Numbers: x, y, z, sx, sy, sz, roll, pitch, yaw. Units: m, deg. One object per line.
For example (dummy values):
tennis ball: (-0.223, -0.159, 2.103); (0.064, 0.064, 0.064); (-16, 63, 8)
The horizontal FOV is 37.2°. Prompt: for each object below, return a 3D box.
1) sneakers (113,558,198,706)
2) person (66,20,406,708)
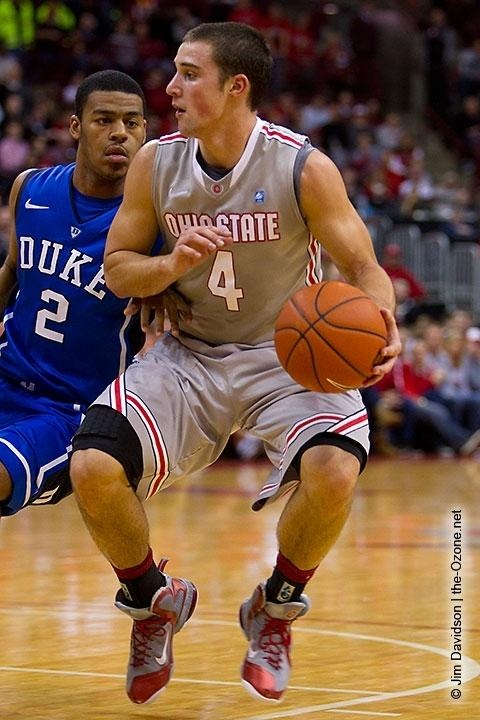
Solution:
sneakers: (-0.232, 0.685, 1.807); (0.132, 0.354, 0.171); (1, -24, 41)
person: (0.066, 0.018, 1.821); (0.969, 1.652, 0.828); (0, -3, 20)
